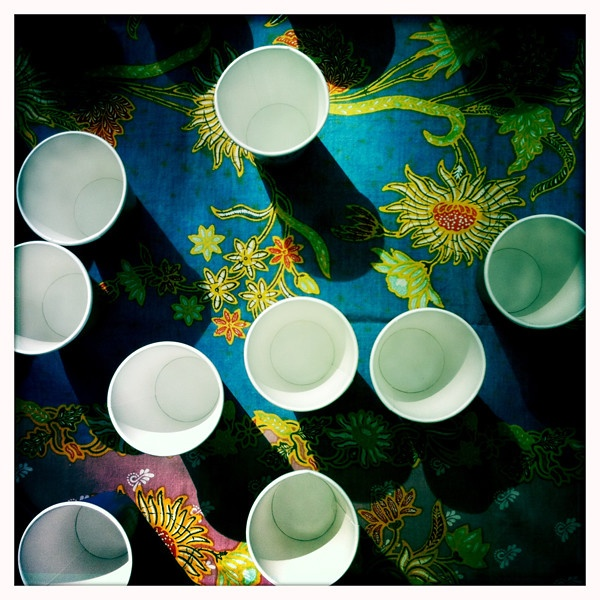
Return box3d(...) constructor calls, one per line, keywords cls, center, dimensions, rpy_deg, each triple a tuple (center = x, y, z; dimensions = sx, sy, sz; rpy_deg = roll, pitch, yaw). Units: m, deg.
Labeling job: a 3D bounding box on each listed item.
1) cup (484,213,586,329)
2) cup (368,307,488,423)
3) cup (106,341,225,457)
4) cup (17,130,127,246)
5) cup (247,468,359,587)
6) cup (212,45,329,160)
box3d(cls="cup", center=(0.707, -0.086, 1.886), dimensions=(0.268, 0.235, 0.360), rpy_deg=(0, -86, 3))
box3d(cls="cup", center=(0.350, 0.161, 1.747), dimensions=(0.312, 0.239, 0.285), rpy_deg=(0, -73, 1))
box3d(cls="cup", center=(-0.392, 0.294, 1.804), dimensions=(0.307, 0.251, 0.391), rpy_deg=(0, -91, 1))
box3d(cls="cup", center=(-0.715, -0.350, 1.974), dimensions=(0.318, 0.173, 0.400), rpy_deg=(-1, -82, -6))
box3d(cls="cup", center=(0.012, 0.679, 1.757), dimensions=(0.309, 0.248, 0.393), rpy_deg=(-4, -93, 6))
box3d(cls="cup", center=(-0.083, -0.586, 1.805), dimensions=(0.323, 0.282, 0.307), rpy_deg=(0, -73, 1))
